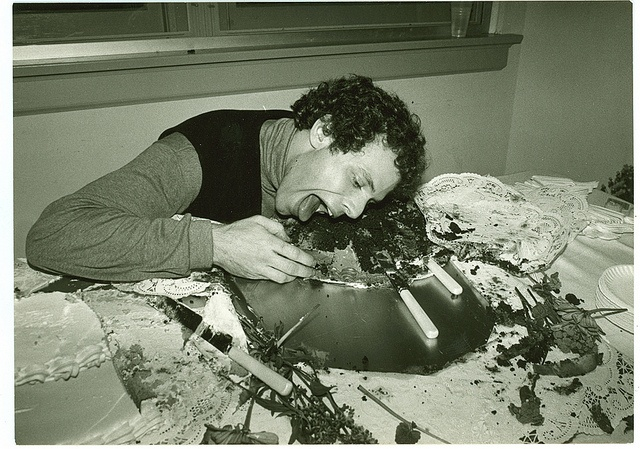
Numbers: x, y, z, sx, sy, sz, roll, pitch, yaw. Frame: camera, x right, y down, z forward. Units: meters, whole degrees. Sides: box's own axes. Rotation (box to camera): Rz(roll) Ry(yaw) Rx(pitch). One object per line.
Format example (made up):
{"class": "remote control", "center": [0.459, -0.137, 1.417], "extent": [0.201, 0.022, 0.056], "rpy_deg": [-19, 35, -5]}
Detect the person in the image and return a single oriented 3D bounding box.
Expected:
{"class": "person", "center": [-0.399, -0.285, 2.122], "extent": [1.267, 0.633, 1.585], "rpy_deg": [-13, 29, -36]}

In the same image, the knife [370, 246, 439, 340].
{"class": "knife", "center": [0.268, 0.226, 1.772], "extent": [0.077, 0.050, 0.531], "rpy_deg": [-12, 36, -14]}
